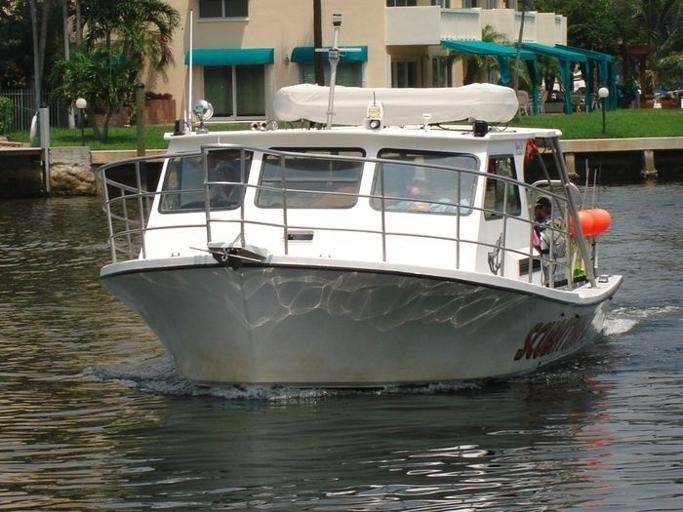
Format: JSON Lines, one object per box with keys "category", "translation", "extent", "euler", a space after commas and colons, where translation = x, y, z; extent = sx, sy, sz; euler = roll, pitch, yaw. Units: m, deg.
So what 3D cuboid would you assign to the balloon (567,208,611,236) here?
{"category": "balloon", "translation": [3.857, -0.508, 25.163], "extent": [0.544, 0.273, 0.560], "euler": [-18, 15, -42]}
